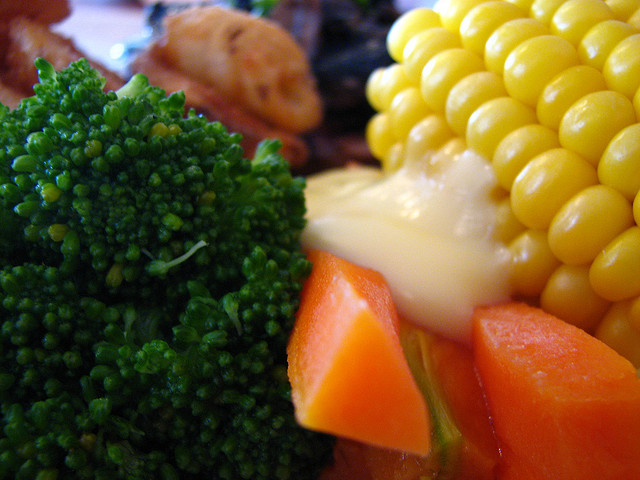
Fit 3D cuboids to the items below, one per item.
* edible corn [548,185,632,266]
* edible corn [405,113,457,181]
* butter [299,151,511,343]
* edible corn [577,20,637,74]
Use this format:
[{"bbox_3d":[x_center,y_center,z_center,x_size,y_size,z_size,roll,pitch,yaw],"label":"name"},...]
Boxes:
[{"bbox_3d":[0.371,-0.012,0.878,0.108,0.059,0.081,-44,51,10],"label":"edible corn"},{"bbox_3d":[0.157,-0.146,0.983,0.037,0.099,0.081,20,59,-9],"label":"edible corn"},{"bbox_3d":[0.126,0.000,0.936,0.341,0.275,0.199,-4,14,-6],"label":"butter"},{"bbox_3d":[0.391,-0.276,0.861,0.053,0.079,0.072,8,97,56],"label":"edible corn"}]
